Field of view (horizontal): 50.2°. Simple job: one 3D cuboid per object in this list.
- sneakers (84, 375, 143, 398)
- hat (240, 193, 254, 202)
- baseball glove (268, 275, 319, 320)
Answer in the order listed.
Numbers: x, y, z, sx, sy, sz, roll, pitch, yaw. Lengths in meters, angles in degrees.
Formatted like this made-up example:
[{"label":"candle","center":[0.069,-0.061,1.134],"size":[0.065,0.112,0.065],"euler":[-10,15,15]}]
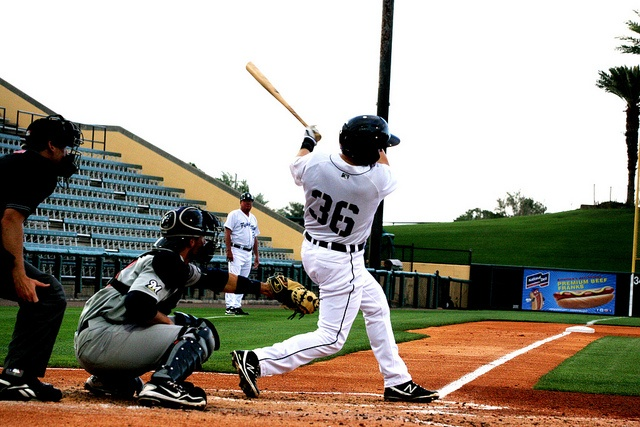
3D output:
[{"label":"sneakers","center":[-1.811,1.521,5.968],"size":[0.591,0.196,0.200],"euler":[2,2,4]},{"label":"hat","center":[-1.390,-0.339,13.030],"size":[0.263,0.128,0.310],"euler":[1,-7,-18]},{"label":"baseball glove","center":[-0.242,0.739,6.337],"size":[0.505,0.347,0.213],"euler":[39,16,-17]}]
